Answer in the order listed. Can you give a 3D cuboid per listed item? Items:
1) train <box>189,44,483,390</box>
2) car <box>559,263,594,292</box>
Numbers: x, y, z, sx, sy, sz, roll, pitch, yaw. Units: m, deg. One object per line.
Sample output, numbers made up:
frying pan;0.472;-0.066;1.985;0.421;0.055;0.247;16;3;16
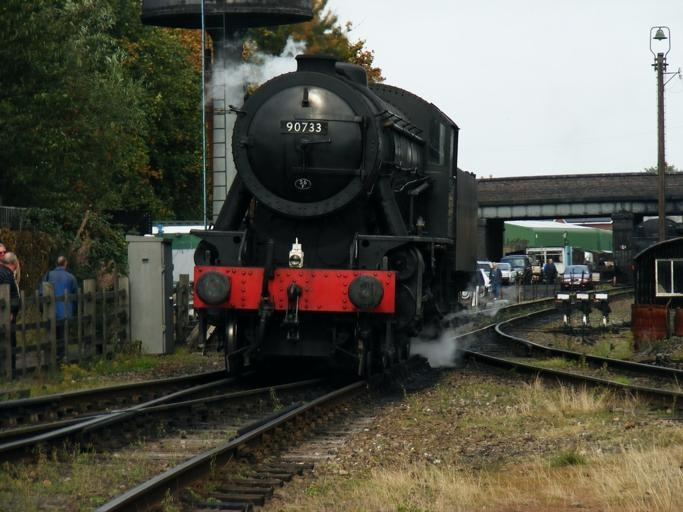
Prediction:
train;0.120;-0.627;15.393;5.451;5.577;2.980;-3;5;-45
car;13.108;1.235;49.330;1.109;1.193;2.589;-2;-5;14
